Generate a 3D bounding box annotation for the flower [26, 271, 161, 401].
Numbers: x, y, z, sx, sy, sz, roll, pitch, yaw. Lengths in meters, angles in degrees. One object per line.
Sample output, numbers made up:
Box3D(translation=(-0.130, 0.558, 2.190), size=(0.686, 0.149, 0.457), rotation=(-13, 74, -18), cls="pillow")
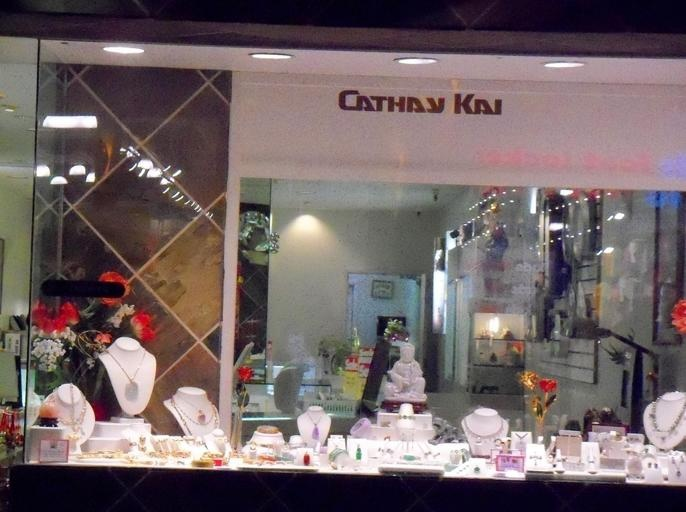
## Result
Box3D(translation=(-1.491, 0.425, 4.111), size=(0.613, 0.307, 0.628), rotation=(1, 41, -7), cls="flower")
